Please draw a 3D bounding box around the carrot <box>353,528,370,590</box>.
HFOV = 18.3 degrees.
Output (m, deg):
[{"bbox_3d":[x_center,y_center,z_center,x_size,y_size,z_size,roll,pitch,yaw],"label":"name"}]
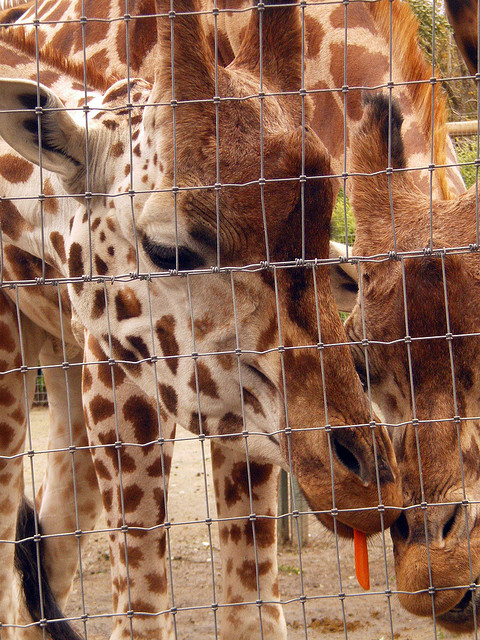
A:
[{"bbox_3d":[0.339,0.659,4.142,0.038,0.235,0.027,-7,34,1],"label":"carrot"}]
